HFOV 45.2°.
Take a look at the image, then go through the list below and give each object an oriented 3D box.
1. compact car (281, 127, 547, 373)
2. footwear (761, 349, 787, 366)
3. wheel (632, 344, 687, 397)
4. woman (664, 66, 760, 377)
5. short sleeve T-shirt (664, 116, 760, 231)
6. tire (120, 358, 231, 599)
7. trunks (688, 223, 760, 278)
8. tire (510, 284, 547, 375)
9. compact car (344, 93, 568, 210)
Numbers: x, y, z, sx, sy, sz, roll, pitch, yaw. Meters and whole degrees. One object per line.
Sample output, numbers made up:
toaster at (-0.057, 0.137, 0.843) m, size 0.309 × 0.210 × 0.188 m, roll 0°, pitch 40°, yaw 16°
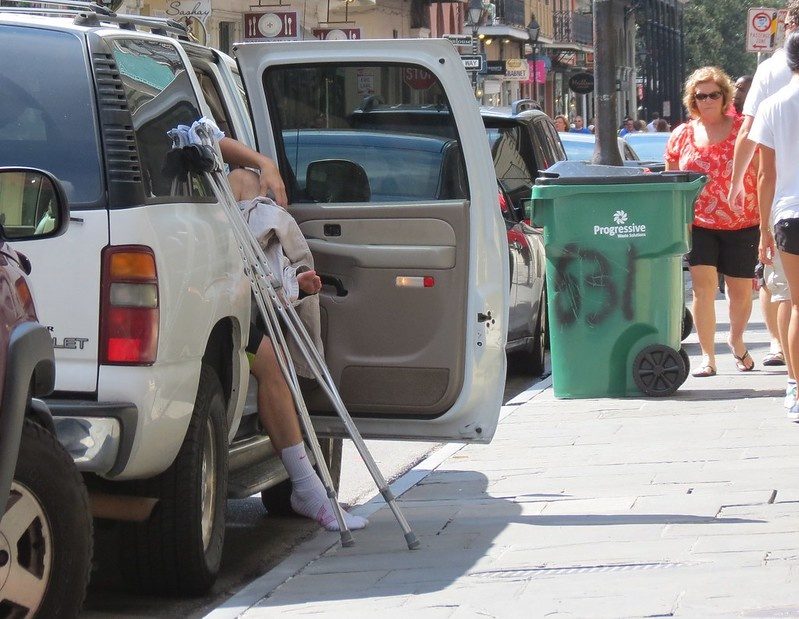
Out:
compact car at (0.203, -0.296, 5.851) m, size 1.147 × 1.198 × 2.160 m, roll 0°, pitch 2°, yaw 25°
footwear at (3.287, 0.432, 8.412) m, size 0.188 × 0.156 × 0.556 m, roll 0°, pitch -4°, yaw 7°
wheel at (2.033, 0.473, 7.538) m, size 0.377 × 0.413 × 0.140 m, roll -1°, pitch -2°, yaw 7°
woman at (2.704, -0.724, 8.214) m, size 0.888 × 2.508 × 0.760 m, roll -7°, pitch 11°, yaw -9°
short sleeve T-shirt at (2.580, -1.082, 7.835) m, size 0.960 × 1.007 × 0.560 m, roll -1°, pitch -2°, yaw 6°
tire at (-0.930, 0.750, 4.034) m, size 0.297 × 0.880 × 0.840 m, roll 1°, pitch -18°, yaw -13°
trunks at (2.794, -0.481, 8.336) m, size 0.702 × 0.559 × 0.398 m, roll 2°, pitch -4°, yaw -6°
tire at (1.231, 0.200, 9.306) m, size 0.243 × 0.817 × 0.789 m, roll 0°, pitch 9°, yaw 15°
compact car at (1.095, -1.493, 8.956) m, size 1.072 × 1.061 × 1.917 m, roll 1°, pitch 10°, yaw 20°
